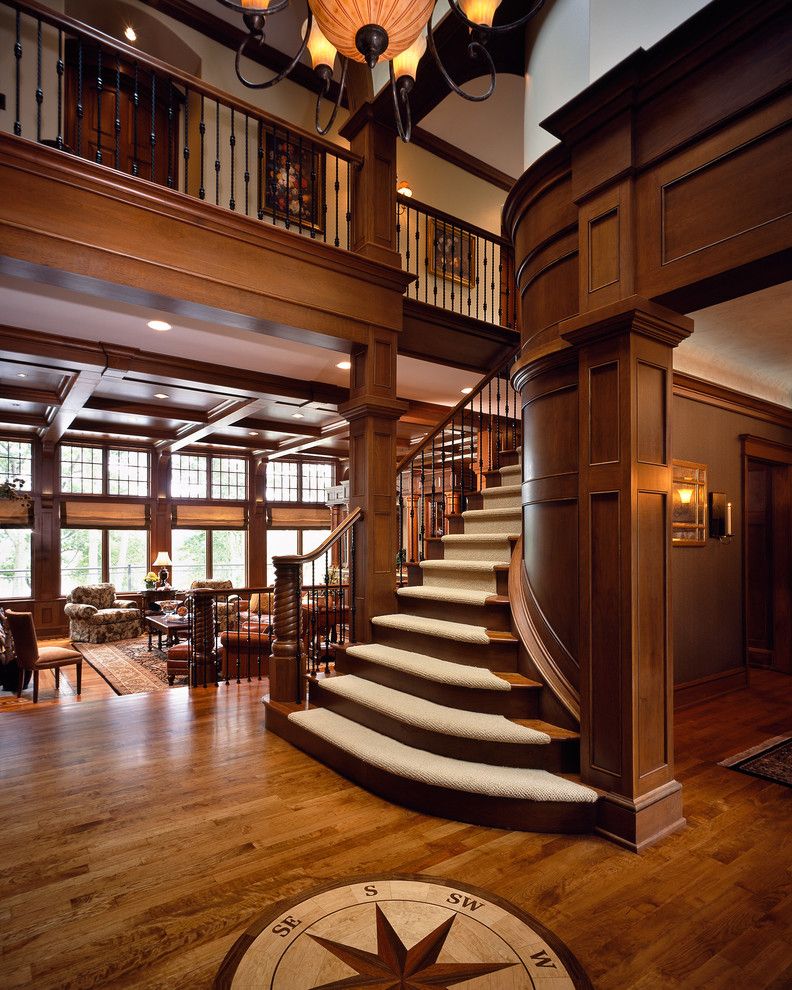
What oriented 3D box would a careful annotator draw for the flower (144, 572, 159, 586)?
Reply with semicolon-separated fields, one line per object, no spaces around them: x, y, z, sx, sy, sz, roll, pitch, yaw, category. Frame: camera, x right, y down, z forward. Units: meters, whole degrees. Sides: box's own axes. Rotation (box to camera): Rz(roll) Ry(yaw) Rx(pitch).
-3.680;1.267;11.480;0.175;0.203;0.182;0;-1;1;flower

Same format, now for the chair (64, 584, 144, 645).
-4.125;1.682;10.764;0.734;0.845;0.832;-4;-6;35;chair
